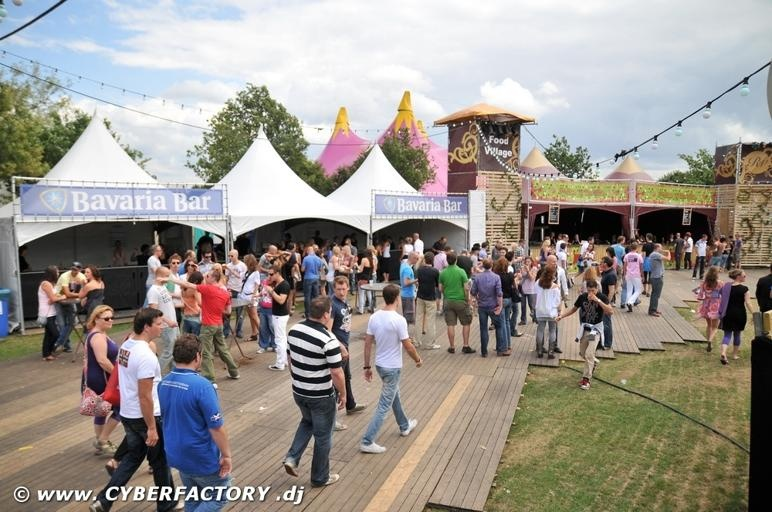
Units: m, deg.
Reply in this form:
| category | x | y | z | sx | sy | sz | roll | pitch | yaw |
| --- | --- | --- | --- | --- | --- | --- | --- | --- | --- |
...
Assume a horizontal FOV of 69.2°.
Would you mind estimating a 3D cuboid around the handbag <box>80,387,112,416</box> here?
| category | x | y | z | sx | sy | sz | roll | pitch | yaw |
| --- | --- | --- | --- | --- | --- | --- | --- | --- | --- |
| handbag | -4.324 | 2.154 | 8.310 | 0.433 | 0.434 | 0.233 | 9 | 13 | 0 |

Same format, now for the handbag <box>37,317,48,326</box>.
| category | x | y | z | sx | sy | sz | roll | pitch | yaw |
| --- | --- | --- | --- | --- | --- | --- | --- | --- | --- |
| handbag | -7.630 | 1.433 | 12.357 | 0.220 | 0.234 | 0.126 | 10 | 32 | -15 |

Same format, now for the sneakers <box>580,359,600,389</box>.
| category | x | y | z | sx | sy | sz | roll | pitch | yaw |
| --- | --- | --- | --- | --- | --- | --- | --- | --- | --- |
| sneakers | 4.090 | 2.373 | 11.208 | 0.178 | 0.597 | 0.279 | 9 | -35 | 45 |

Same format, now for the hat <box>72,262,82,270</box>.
| category | x | y | z | sx | sy | sz | roll | pitch | yaw |
| --- | --- | --- | --- | --- | --- | --- | --- | --- | --- |
| hat | -7.608 | 0.242 | 13.672 | 0.171 | 0.145 | 0.246 | 29 | -12 | -40 |

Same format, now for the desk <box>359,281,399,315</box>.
| category | x | y | z | sx | sy | sz | roll | pitch | yaw |
| --- | --- | --- | --- | --- | --- | --- | --- | --- | --- |
| desk | -0.487 | 1.069 | 15.759 | 1.007 | 0.685 | 1.043 | 0 | 0 | 11 |

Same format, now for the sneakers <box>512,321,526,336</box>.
| category | x | y | z | sx | sy | sz | roll | pitch | yaw |
| --- | --- | --- | --- | --- | --- | --- | --- | --- | --- |
| sneakers | 3.302 | 1.882 | 14.059 | 0.166 | 0.231 | 0.488 | 1 | -1 | 37 |

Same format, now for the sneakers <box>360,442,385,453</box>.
| category | x | y | z | sx | sy | sz | roll | pitch | yaw |
| --- | --- | --- | --- | --- | --- | --- | --- | --- | --- |
| sneakers | -0.220 | 3.016 | 8.849 | 0.419 | 0.192 | 0.157 | 0 | 4 | -2 |

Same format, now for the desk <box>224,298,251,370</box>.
| category | x | y | z | sx | sy | sz | roll | pitch | yaw |
| --- | --- | --- | --- | --- | --- | --- | --- | --- | --- |
| desk | -3.779 | 1.832 | 13.647 | 0.713 | 0.947 | 1.329 | -6 | 4 | -21 |

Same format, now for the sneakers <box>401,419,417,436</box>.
| category | x | y | z | sx | sy | sz | roll | pitch | yaw |
| --- | --- | --- | --- | --- | --- | --- | --- | --- | --- |
| sneakers | 0.409 | 2.828 | 9.327 | 0.130 | 0.164 | 0.365 | 8 | 25 | 37 |

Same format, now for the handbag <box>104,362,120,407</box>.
| category | x | y | z | sx | sy | sz | roll | pitch | yaw |
| --- | --- | --- | --- | --- | --- | --- | --- | --- | --- |
| handbag | -3.956 | 1.866 | 8.004 | 0.205 | 0.613 | 0.625 | -2 | 0 | -28 |
